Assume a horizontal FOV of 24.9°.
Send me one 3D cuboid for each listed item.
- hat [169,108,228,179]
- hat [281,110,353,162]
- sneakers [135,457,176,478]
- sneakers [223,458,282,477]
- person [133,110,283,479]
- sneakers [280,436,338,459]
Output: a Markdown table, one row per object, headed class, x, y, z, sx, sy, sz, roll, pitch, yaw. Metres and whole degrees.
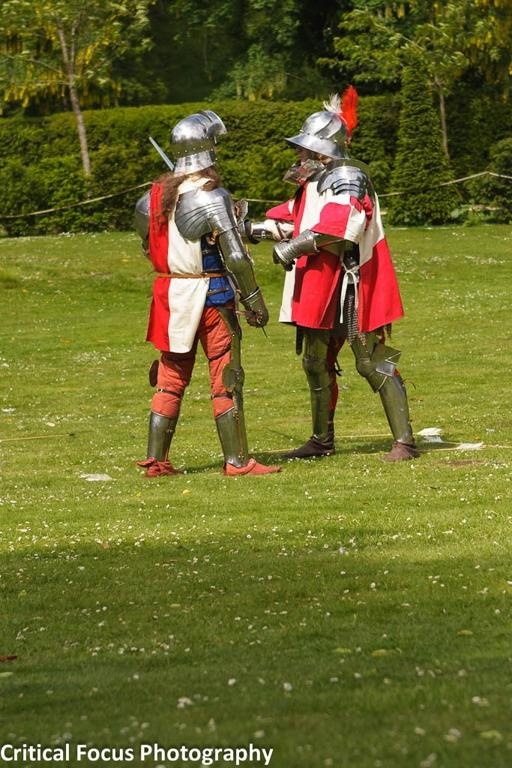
| class | x | y | z | sx | sy | sz | roll | pitch | yaw |
| --- | --- | --- | --- | --- | --- | --- | --- | --- | --- |
| hat | -0.336 | -1.386 | 6.627 | 0.309 | 0.347 | 0.334 | -2 | 18 | -4 |
| hat | 0.346 | -1.494 | 6.767 | 0.457 | 0.235 | 0.416 | 17 | 15 | 12 |
| sneakers | -0.562 | 0.485 | 6.711 | 0.291 | 0.110 | 0.088 | -7 | 15 | -30 |
| sneakers | -0.032 | 0.486 | 6.611 | 0.336 | 0.101 | 0.109 | -2 | -2 | 6 |
| person | -0.302 | -0.506 | 6.633 | 0.723 | 2.038 | 0.825 | -2 | 19 | -4 |
| sneakers | 0.339 | 0.412 | 7.132 | 0.392 | 0.134 | 0.120 | -1 | -1 | 4 |
